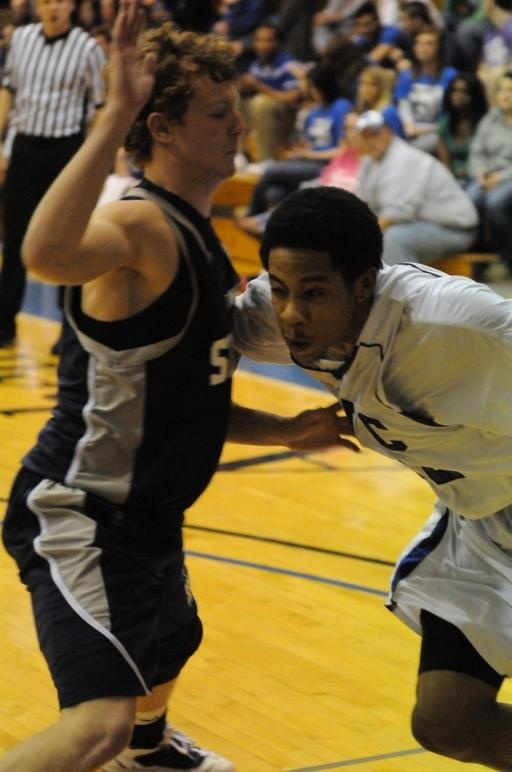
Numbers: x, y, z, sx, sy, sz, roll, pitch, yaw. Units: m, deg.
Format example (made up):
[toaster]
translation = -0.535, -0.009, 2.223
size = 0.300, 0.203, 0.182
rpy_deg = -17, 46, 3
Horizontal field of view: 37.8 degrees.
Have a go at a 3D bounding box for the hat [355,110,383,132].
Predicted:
[hat]
translation = 0.791, -1.837, 5.169
size = 0.168, 0.147, 0.181
rpy_deg = 3, 13, -3
